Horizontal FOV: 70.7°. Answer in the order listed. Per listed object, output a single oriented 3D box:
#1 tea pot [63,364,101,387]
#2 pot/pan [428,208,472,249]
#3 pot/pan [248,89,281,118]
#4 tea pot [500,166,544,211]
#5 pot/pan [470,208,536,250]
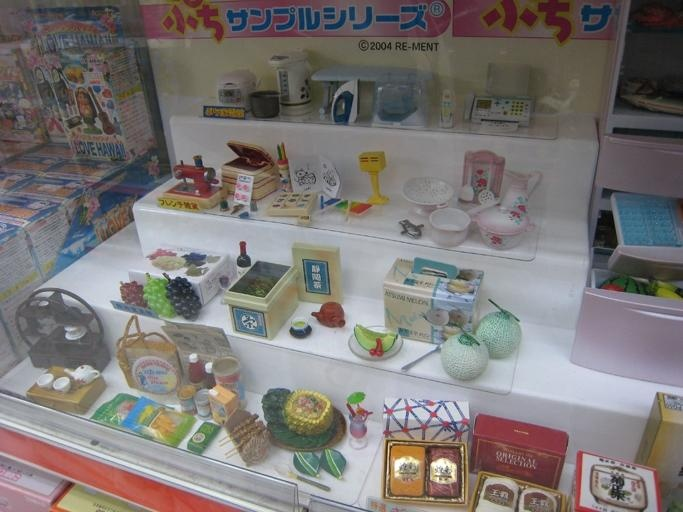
[{"bbox_3d":[-1.068,0.492,1.975,0.101,0.072,0.074,10,23,5],"label":"tea pot"},{"bbox_3d":[0.458,-0.150,1.995,0.126,0.082,0.209,16,44,20],"label":"pot/pan"},{"bbox_3d":[-0.368,-0.731,2.333,0.136,0.091,0.142,9,36,14],"label":"pot/pan"},{"bbox_3d":[0.745,-0.272,2.013,0.173,0.184,0.171,-1,32,1],"label":"tea pot"},{"bbox_3d":[0.668,-0.111,1.957,0.218,0.141,0.136,7,33,13],"label":"pot/pan"}]
